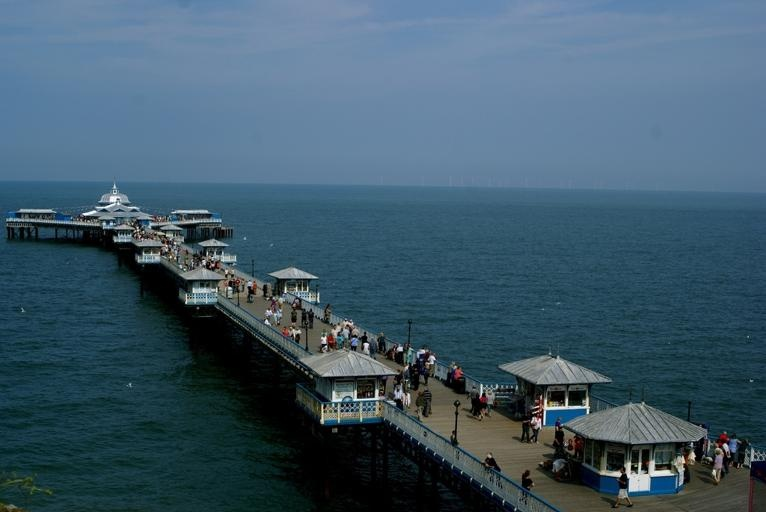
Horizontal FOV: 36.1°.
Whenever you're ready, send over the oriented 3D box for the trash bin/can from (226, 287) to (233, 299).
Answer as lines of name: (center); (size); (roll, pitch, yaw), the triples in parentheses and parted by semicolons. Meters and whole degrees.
trash bin/can: (-15.694, 3.710, 119.526); (0.591, 1.155, 1.063); (-2, 5, -15)
